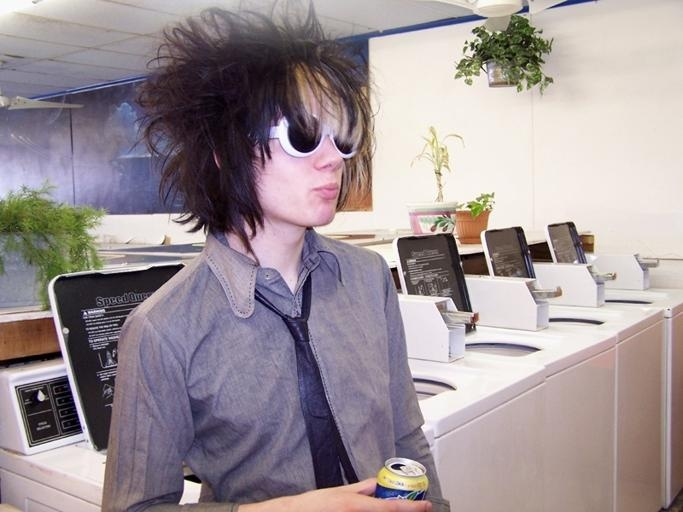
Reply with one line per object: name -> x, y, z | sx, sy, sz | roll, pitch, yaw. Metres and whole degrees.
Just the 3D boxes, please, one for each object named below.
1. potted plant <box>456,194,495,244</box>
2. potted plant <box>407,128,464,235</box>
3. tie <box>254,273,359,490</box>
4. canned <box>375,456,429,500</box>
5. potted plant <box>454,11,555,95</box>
potted plant -> 0.858, -0.227, 3.404 | 0.260, 0.292, 0.222 | 3, -6, 28
potted plant -> 0.635, -0.464, 3.374 | 0.398, 0.656, 0.383 | 2, 1, -12
tie -> -0.048, 0.269, 1.019 | 0.134, 0.471, 0.024 | -10, -1, -11
canned -> 0.106, 0.400, 0.945 | 0.093, 0.062, 0.092 | -6, 5, 3
potted plant -> 1.469, -1.808, 4.789 | 0.828, 0.733, 0.608 | -4, 5, 25
